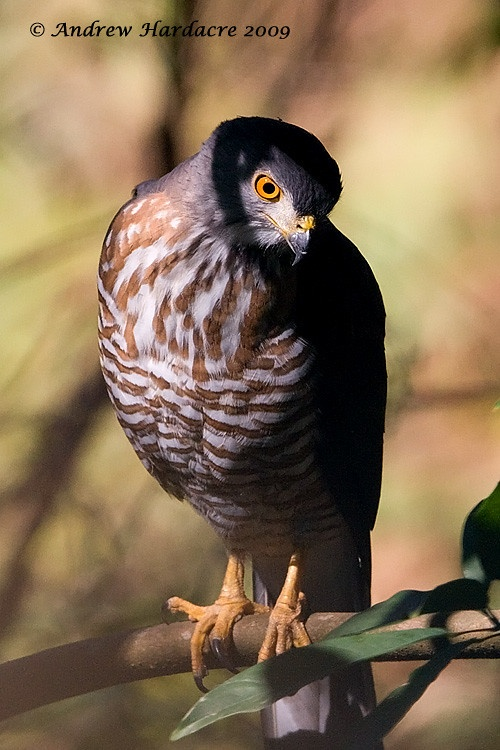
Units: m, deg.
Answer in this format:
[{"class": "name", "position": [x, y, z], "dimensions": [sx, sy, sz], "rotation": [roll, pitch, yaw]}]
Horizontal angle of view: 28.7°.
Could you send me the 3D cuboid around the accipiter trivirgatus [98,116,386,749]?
[{"class": "accipiter trivirgatus", "position": [0.025, 0.067, 2.023], "dimensions": [0.636, 1.173, 0.503], "rotation": [-5, 31, -5]}]
